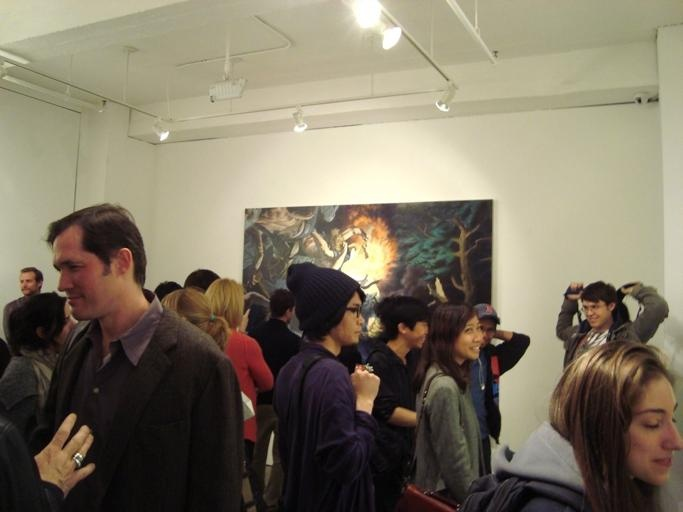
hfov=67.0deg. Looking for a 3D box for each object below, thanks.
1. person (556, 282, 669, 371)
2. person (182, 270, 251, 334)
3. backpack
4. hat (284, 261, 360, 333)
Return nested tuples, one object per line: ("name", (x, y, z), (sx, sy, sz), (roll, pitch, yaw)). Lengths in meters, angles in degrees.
("person", (2.352, 0.551, 4.391), (0.303, 0.907, 0.653), (38, -39, -14))
("person", (-1.248, 0.409, 5.510), (0.680, 0.894, 0.954), (4, -13, -14))
("backpack", (2.345, 0.558, 4.564), (0.295, 1.031, 0.605), (29, -31, -33))
("hat", (-0.093, 0.247, 2.953), (0.461, 0.422, 0.397), (1, 19, -2))
